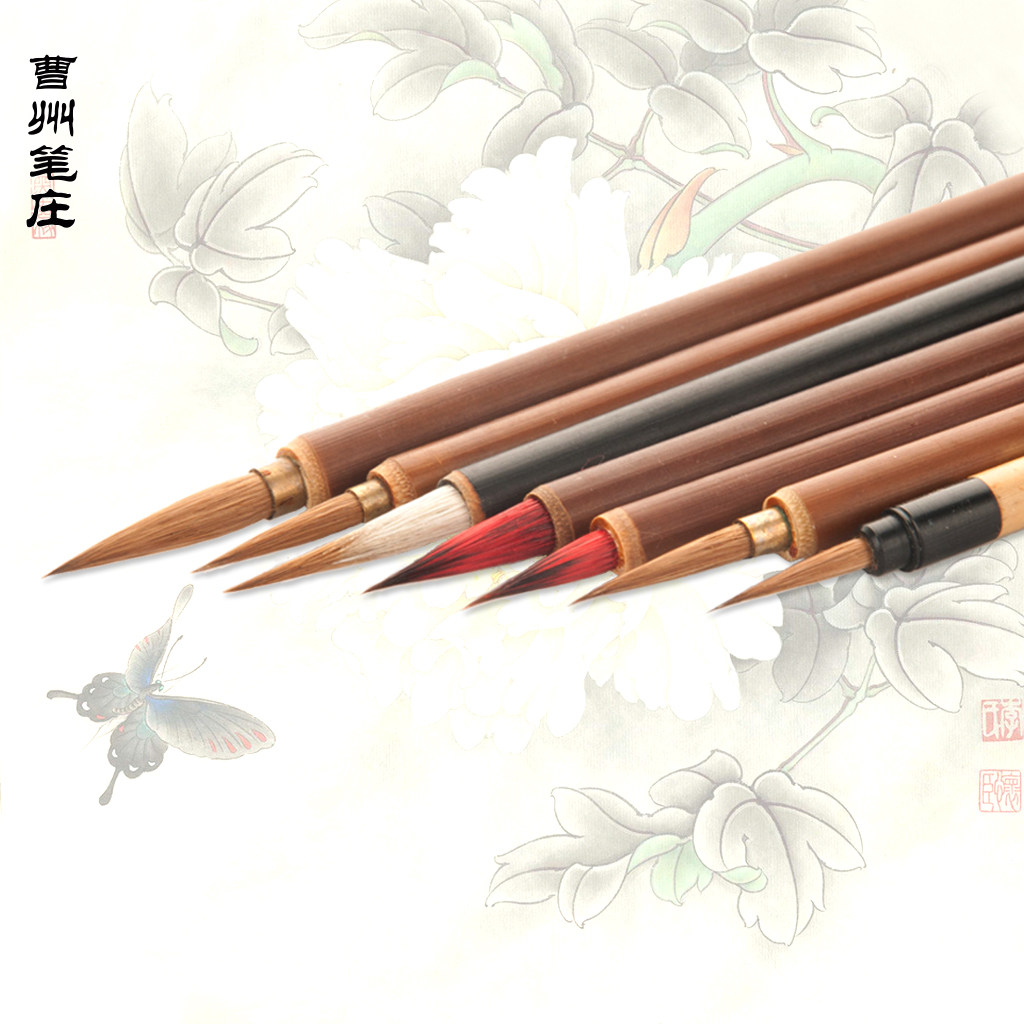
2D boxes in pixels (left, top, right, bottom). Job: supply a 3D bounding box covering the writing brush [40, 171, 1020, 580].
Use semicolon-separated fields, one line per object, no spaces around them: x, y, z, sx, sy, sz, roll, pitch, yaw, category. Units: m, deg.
0.031;-0.097;1.023;1.071;0.049;0.068;-15;-20;-10;writing brush
